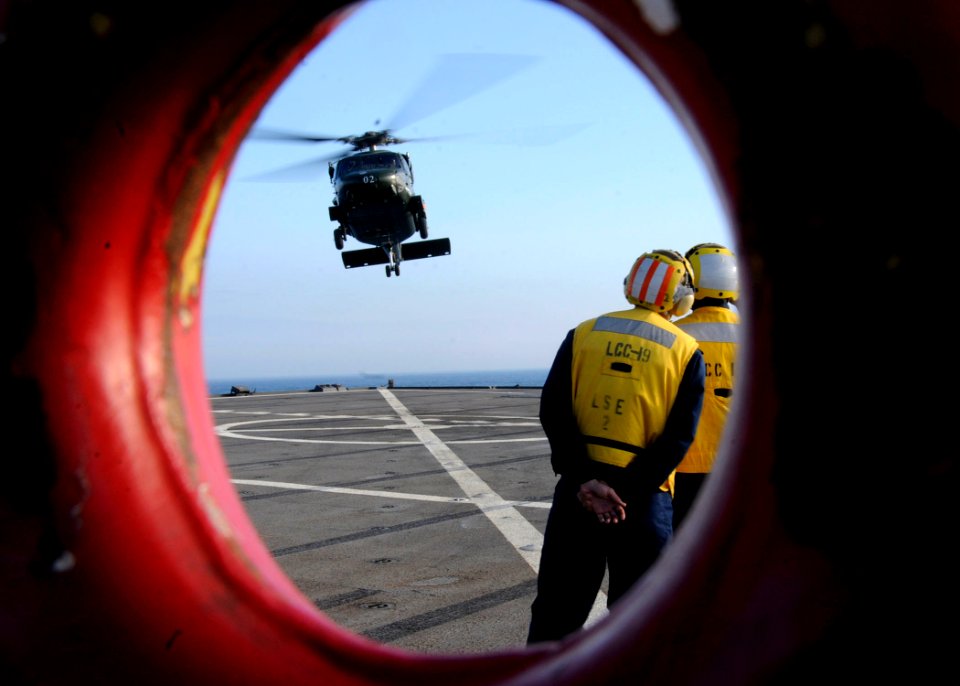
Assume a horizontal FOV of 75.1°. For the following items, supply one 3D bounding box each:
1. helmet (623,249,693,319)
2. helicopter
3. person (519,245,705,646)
[{"bbox_3d":[1.019,-0.372,3.487,0.402,0.376,0.383,22,21,22],"label":"helmet"},{"bbox_3d":[-4.197,-5.822,24.355,12.534,3.984,15.059,-9,-2,-6],"label":"helicopter"},{"bbox_3d":[0.776,0.838,3.555,0.805,2.655,1.040,11,5,25],"label":"person"}]
